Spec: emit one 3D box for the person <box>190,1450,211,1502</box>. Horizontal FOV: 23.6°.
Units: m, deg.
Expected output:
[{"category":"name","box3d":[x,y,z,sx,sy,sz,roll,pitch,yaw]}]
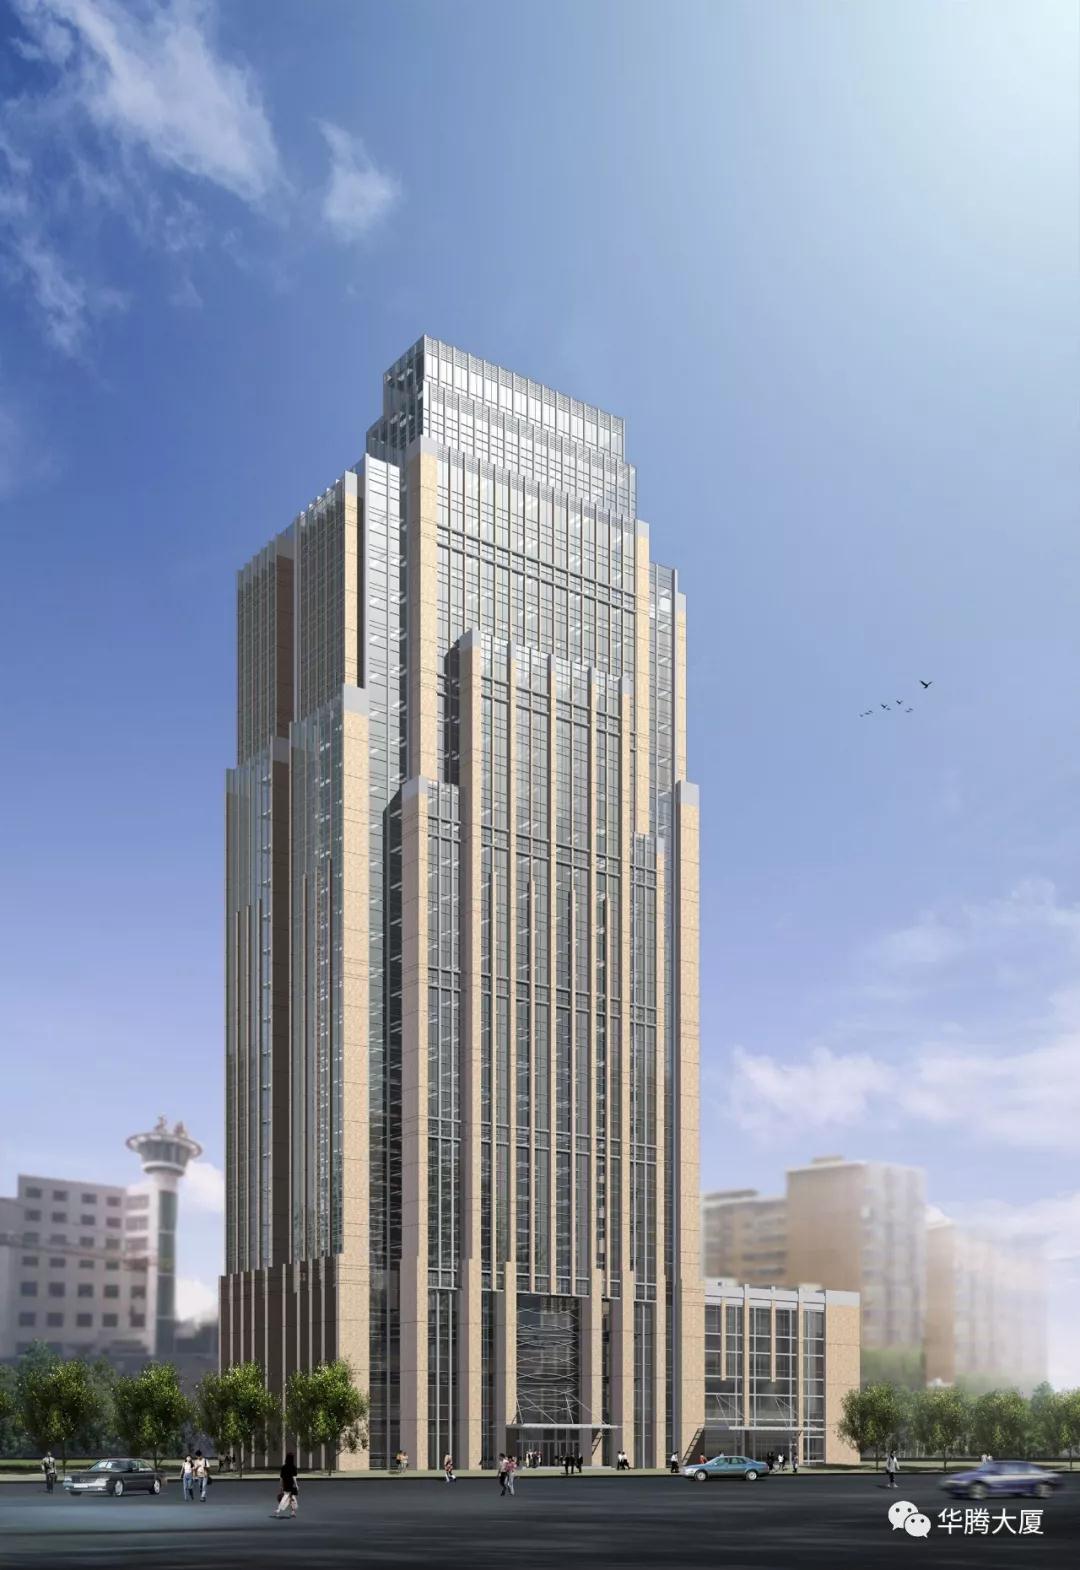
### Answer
[{"category":"person","box3d":[-12.728,25.524,95.261,0.545,1.598,3.331,5,-8,-11]}]
